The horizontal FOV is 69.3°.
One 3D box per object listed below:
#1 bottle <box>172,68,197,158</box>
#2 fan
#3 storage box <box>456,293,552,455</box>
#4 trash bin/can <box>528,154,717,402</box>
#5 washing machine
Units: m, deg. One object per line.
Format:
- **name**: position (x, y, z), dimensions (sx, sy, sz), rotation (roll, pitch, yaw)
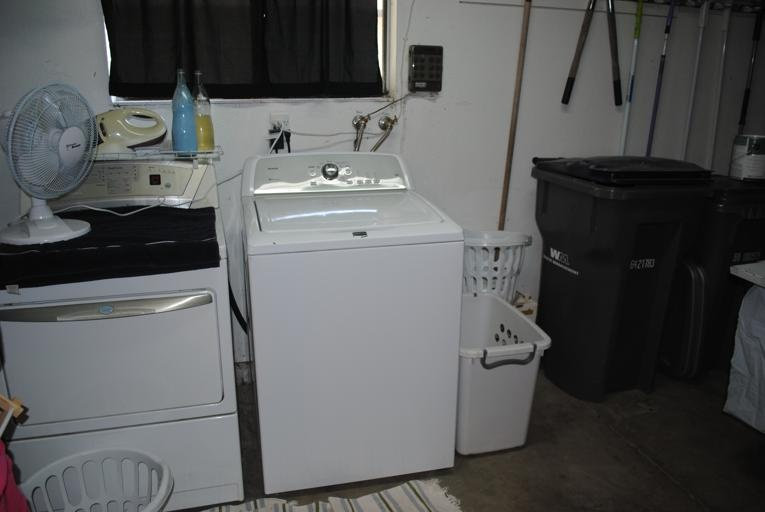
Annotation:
- **bottle**: position (-0.999, -0.709, 2.748), dimensions (0.133, 0.404, 0.411), rotation (-7, 22, -17)
- **fan**: position (-1.394, -0.383, 2.268), dimensions (0.420, 0.608, 0.277), rotation (-9, 22, -21)
- **storage box**: position (0.595, 0.655, 3.083), dimensions (0.702, 0.551, 0.737), rotation (2, 23, -3)
- **trash bin/can**: position (1.261, 0.126, 3.150), dimensions (0.869, 1.298, 0.531), rotation (11, 23, 28)
- **washing machine**: position (-0.153, 0.313, 2.746), dimensions (0.963, 1.315, 0.763), rotation (-5, 21, -11)
